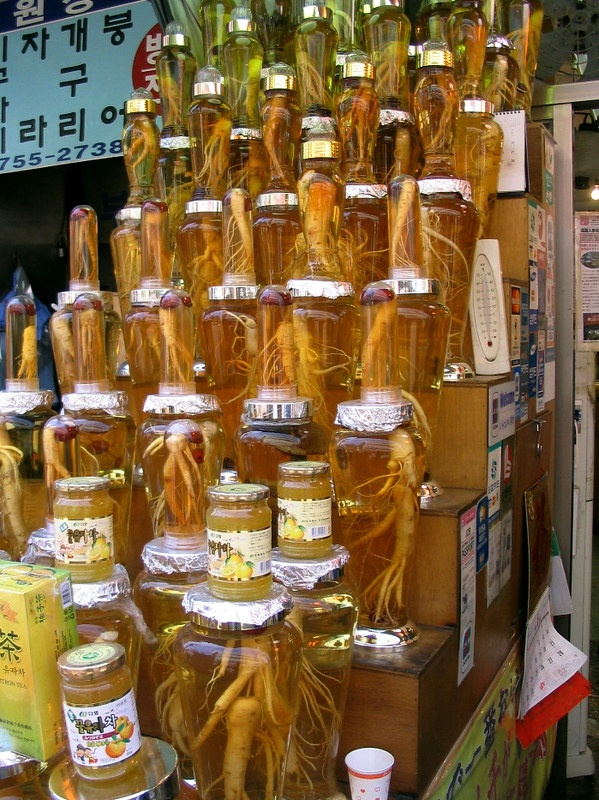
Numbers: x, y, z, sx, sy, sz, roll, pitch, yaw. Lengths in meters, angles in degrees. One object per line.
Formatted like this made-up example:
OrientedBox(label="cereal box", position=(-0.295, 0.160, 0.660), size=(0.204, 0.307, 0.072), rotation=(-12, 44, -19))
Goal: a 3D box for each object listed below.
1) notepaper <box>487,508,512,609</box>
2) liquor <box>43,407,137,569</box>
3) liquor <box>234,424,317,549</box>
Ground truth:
OrientedBox(label="notepaper", position=(0.376, 0.296, 1.159), size=(0.027, 0.202, 0.214), rotation=(2, 9, 25))
OrientedBox(label="liquor", position=(-0.262, 0.113, 0.860), size=(0.062, 0.256, 0.133), rotation=(-2, 9, 21))
OrientedBox(label="liquor", position=(-0.022, 0.097, 0.735), size=(0.106, 0.151, 0.066), rotation=(-6, 9, -1))
